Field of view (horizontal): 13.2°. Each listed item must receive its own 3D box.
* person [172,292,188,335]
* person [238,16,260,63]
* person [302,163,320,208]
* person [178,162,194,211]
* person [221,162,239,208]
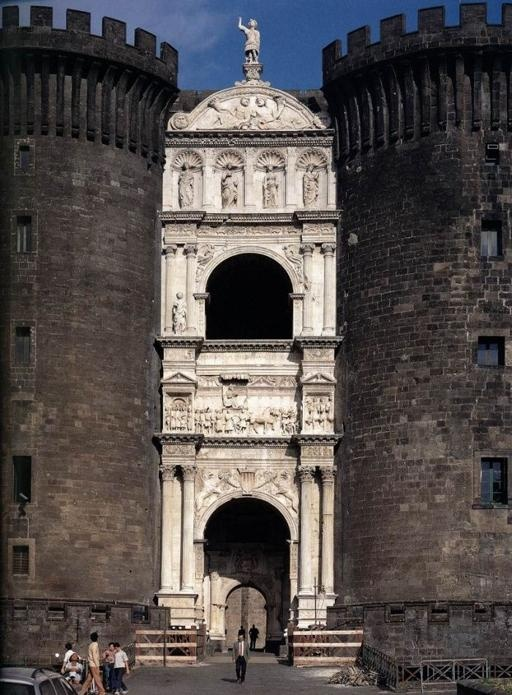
[{"bbox_3d":[-2.663,-0.996,71.170,0.523,1.403,0.478,9,-12,-40],"label":"person"},{"bbox_3d":[-0.402,-10.170,74.266,0.605,1.976,0.394,0,-28,-5],"label":"person"},{"bbox_3d":[1.667,-5.218,72.345,0.544,1.499,0.415,1,-9,5],"label":"person"},{"bbox_3d":[-2.501,-5.229,72.595,0.516,1.531,0.329,2,-9,0],"label":"person"},{"bbox_3d":[-1.055,-5.116,72.781,0.475,1.641,0.305,2,-37,-3],"label":"person"}]
